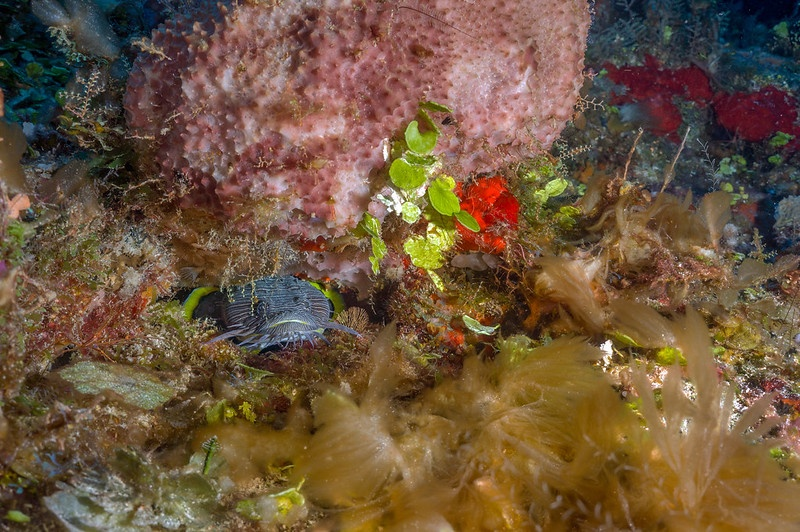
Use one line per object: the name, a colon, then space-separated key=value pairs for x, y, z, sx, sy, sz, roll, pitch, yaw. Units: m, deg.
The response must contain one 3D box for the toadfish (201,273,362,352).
toadfish: x=-0.775 y=0.305 z=5.342 sx=0.772 sy=0.235 sz=0.420 roll=-12 pitch=60 yaw=-7
